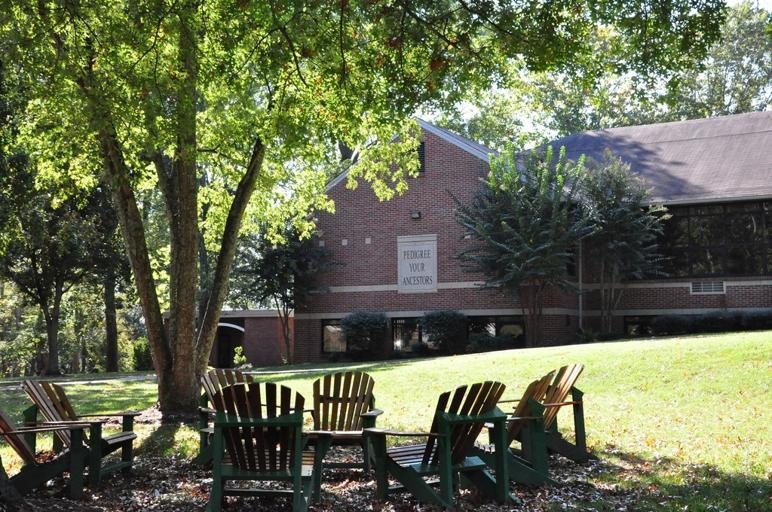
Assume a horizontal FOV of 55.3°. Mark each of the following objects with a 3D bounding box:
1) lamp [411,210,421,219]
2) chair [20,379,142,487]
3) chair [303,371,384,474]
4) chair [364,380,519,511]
[{"bbox_3d":[1.324,-1.777,32.555,0.546,0.395,0.299,-4,-19,13],"label":"lamp"},{"bbox_3d":[-5.208,2.961,12.551,1.562,1.460,1.459,3,-3,6],"label":"chair"},{"bbox_3d":[-0.829,2.797,13.230,1.263,1.585,1.696,0,-10,1],"label":"chair"},{"bbox_3d":[0.809,3.033,11.941,2.027,1.764,2.001,7,-11,-40],"label":"chair"}]
